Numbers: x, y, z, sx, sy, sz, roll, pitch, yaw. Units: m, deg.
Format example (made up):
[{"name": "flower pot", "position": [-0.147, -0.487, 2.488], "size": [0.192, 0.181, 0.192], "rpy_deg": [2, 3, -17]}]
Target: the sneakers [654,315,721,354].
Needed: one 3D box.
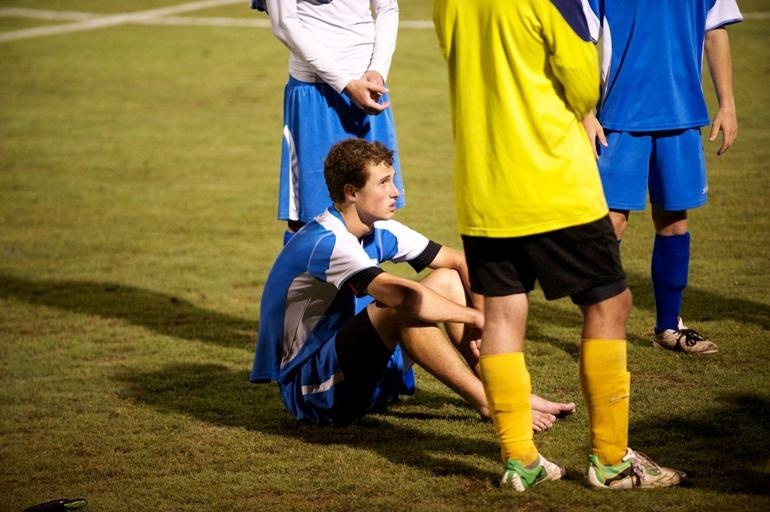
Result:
[{"name": "sneakers", "position": [1.849, 0.480, 8.211], "size": [0.438, 0.188, 0.166], "rpy_deg": [4, 15, 26]}]

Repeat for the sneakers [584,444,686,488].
[{"name": "sneakers", "position": [1.334, 1.107, 7.036], "size": [0.502, 0.193, 0.200], "rpy_deg": [0, 0, -5]}]

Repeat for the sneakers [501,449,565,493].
[{"name": "sneakers", "position": [0.771, 1.121, 7.049], "size": [0.421, 0.160, 0.134], "rpy_deg": [-9, 13, -27]}]
